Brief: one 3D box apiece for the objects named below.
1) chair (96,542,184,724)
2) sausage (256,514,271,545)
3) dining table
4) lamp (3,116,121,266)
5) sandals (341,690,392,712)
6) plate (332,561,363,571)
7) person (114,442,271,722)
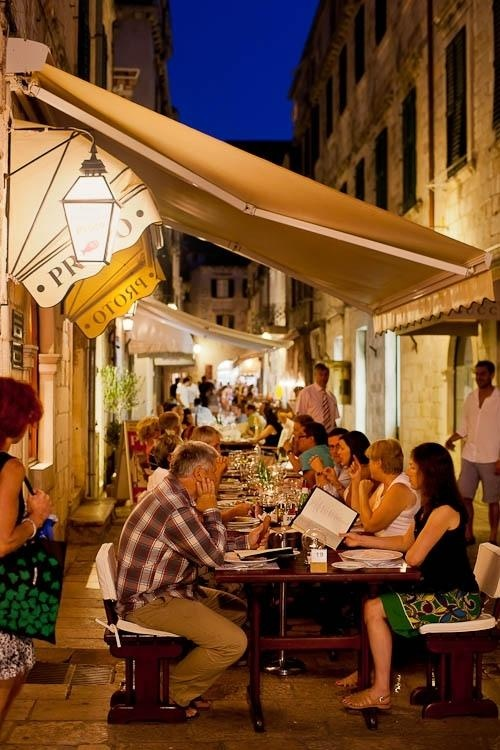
[{"bbox_3d":[-0.507,1.346,3.452,0.414,0.701,0.456,-2,-20,0],"label":"chair"},{"bbox_3d":[0.067,0.857,3.813,0.044,0.214,0.055,20,10,30],"label":"sausage"},{"bbox_3d":[0.299,1.315,3.470,0.855,0.696,0.747,-2,-5,2],"label":"dining table"},{"bbox_3d":[-0.997,-0.921,3.634,0.609,0.884,0.205,0,-6,0],"label":"lamp"},{"bbox_3d":[0.561,1.584,3.359,0.188,0.089,0.119,4,-12,9],"label":"sandals"},{"bbox_3d":[0.450,0.888,3.197,0.146,0.032,0.104,-1,-6,8],"label":"plate"},{"bbox_3d":[-0.236,1.018,3.455,0.698,1.307,0.604,-1,-2,-12],"label":"person"}]
